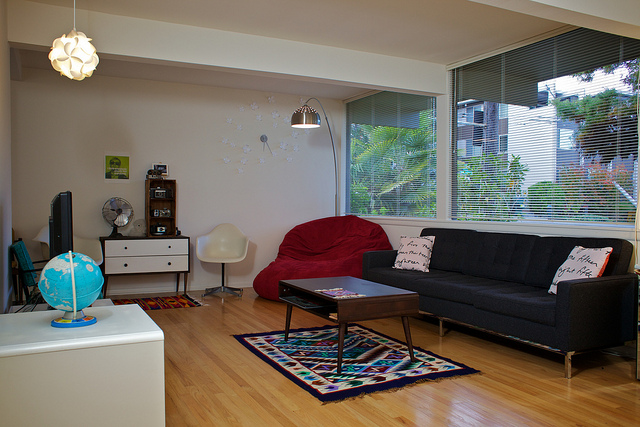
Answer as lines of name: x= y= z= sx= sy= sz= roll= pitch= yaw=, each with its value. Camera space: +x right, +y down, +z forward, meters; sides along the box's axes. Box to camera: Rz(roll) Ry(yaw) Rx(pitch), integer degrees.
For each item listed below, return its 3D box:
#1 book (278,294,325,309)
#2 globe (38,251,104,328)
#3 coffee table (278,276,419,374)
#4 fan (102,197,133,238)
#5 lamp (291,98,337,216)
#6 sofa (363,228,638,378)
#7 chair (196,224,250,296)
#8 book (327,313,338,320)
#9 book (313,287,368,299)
book: x=-0.209 y=0.929 z=4.520 sx=0.217 sy=0.056 sz=0.593 roll=-3 pitch=7 yaw=-29
globe: x=-1.460 y=0.473 z=2.825 sx=0.494 sy=0.465 sz=0.459 roll=2 pitch=0 yaw=-16
coffee table: x=0.251 y=1.060 z=4.453 sx=0.904 sy=0.664 sz=1.339 roll=-4 pitch=8 yaw=-33
fan: x=-3.054 y=0.052 z=6.487 sx=0.403 sy=0.580 sz=0.329 roll=4 pitch=9 yaw=26
lamp: x=-0.151 y=-1.031 z=7.753 sx=0.798 sy=2.195 sz=0.746 roll=0 pitch=4 yaw=-31
sofa: x=1.972 y=0.802 z=4.843 sx=2.282 sy=1.115 sz=3.259 roll=4 pitch=0 yaw=-23
chair: x=-1.523 y=0.745 z=6.863 sx=0.878 sy=0.998 sz=0.798 roll=2 pitch=5 yaw=6
book: x=0.111 y=0.942 z=3.957 sx=0.120 sy=0.024 sz=0.108 roll=0 pitch=0 yaw=-34
book: x=0.182 y=0.771 z=4.179 sx=0.330 sy=0.032 sz=0.481 roll=-3 pitch=7 yaw=-27
